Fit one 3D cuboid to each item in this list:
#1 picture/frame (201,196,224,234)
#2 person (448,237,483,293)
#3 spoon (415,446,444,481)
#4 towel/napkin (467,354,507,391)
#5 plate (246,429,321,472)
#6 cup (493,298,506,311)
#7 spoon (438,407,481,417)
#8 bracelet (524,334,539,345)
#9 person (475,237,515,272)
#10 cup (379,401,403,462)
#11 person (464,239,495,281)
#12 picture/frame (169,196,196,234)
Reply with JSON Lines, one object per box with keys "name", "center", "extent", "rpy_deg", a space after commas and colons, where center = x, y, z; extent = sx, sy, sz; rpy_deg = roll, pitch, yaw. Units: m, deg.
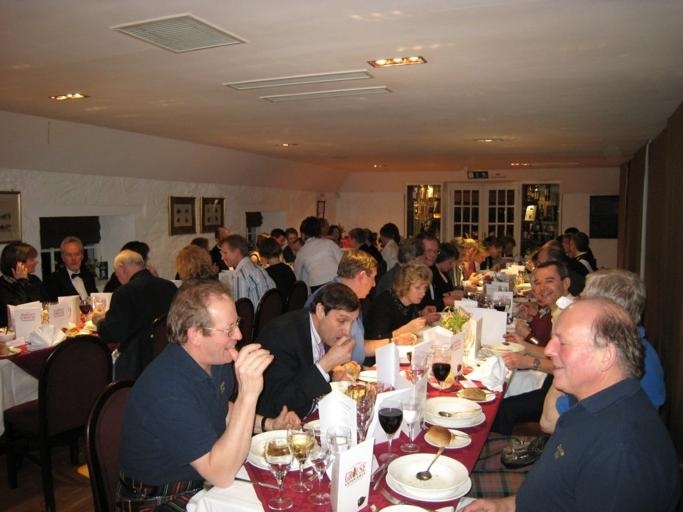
{"name": "picture/frame", "center": [-2.158, -0.677, 8.691], "extent": [0.053, 0.668, 0.500], "rpy_deg": [13, 25, 24]}
{"name": "person", "center": [1.661, 0.125, 7.078], "extent": [0.314, 0.858, 0.337], "rpy_deg": [-2, 28, 12]}
{"name": "spoon", "center": [0.393, 0.903, 2.354], "extent": [0.060, 0.031, 0.229], "rpy_deg": [12, 15, 28]}
{"name": "towel/napkin", "center": [0.887, 0.696, 3.216], "extent": [0.203, 0.074, 0.203], "rpy_deg": [26, 55, 27]}
{"name": "plate", "center": [-0.315, 0.880, 2.441], "extent": [0.231, 0.029, 0.226], "rpy_deg": [-4, 8, -14]}
{"name": "cup", "center": [1.503, 0.451, 4.987], "extent": [0.087, 0.063, 0.114], "rpy_deg": [11, 30, 7]}
{"name": "spoon", "center": [0.618, 0.817, 2.767], "extent": [0.156, 0.021, 0.071], "rpy_deg": [-7, -1, 8]}
{"name": "bracelet", "center": [1.539, 0.664, 4.212], "extent": [0.120, 0.035, 0.117], "rpy_deg": [7, 11, 2]}
{"name": "person", "center": [2.473, -0.153, 8.643], "extent": [0.312, 0.733, 0.574], "rpy_deg": [4, -13, 39]}
{"name": "cup", "center": [0.223, 0.802, 2.484], "extent": [0.107, 0.191, 0.270], "rpy_deg": [3, 2, 4]}
{"name": "person", "center": [2.017, 0.046, 7.706], "extent": [0.277, 0.753, 0.299], "rpy_deg": [7, 27, 14]}
{"name": "picture/frame", "center": [-2.458, -0.638, 8.052], "extent": [0.045, 0.532, 0.560], "rpy_deg": [4, 9, 26]}
